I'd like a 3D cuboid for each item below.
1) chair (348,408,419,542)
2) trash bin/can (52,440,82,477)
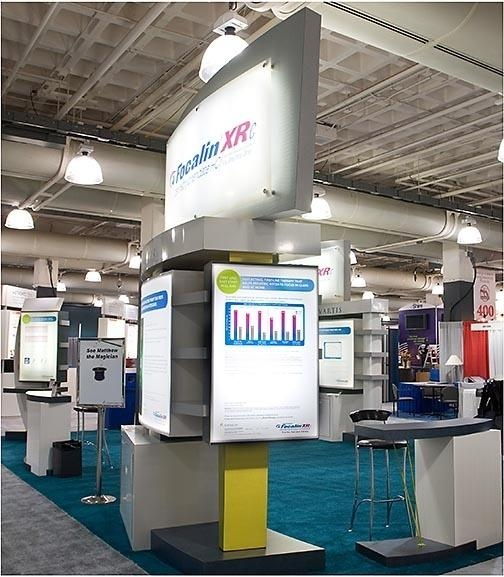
[{"bbox_3d":[1.001,1.512,4.036,0.546,1.061,0.553,12,-14,-43],"label":"chair"},{"bbox_3d":[-2.033,1.879,5.494,0.287,0.365,0.363,6,-11,-30],"label":"trash bin/can"}]
